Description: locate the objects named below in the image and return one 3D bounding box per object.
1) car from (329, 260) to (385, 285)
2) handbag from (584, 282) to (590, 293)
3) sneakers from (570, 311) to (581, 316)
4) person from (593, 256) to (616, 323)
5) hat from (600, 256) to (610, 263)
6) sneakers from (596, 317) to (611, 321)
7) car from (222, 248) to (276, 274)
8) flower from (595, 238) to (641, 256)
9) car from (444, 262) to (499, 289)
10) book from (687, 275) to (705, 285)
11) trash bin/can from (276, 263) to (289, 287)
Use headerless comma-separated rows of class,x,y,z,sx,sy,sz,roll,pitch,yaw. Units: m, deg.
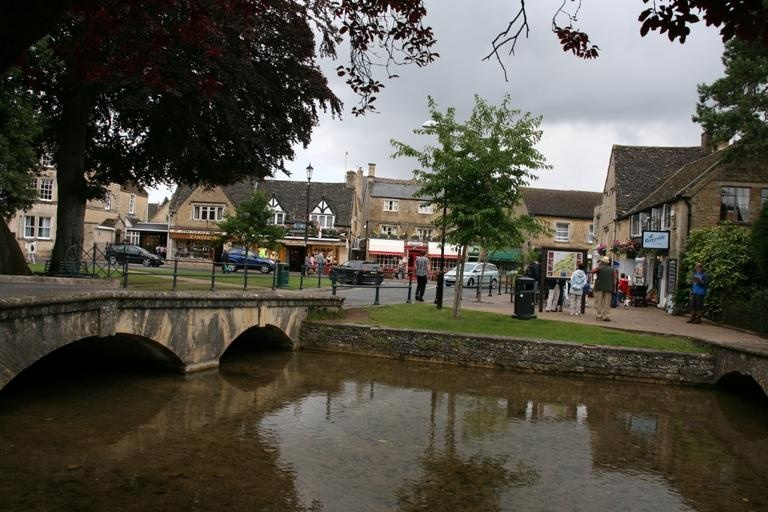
car,-1.337,1.091,42.616,3.090,1.103,1.466,5,4,33
handbag,8.136,1.281,27.911,0.274,0.333,0.449,5,15,20
sneakers,7.464,2.234,27.018,0.561,0.245,0.177,2,-5,-34
person,8.047,1.193,25.258,0.733,2.253,0.742,5,-9,20
hat,7.931,0.169,24.895,0.271,0.148,0.276,13,17,5
sneakers,7.948,2.267,25.169,0.193,0.226,0.507,1,-3,-40
car,-8.844,0.343,45.062,3.342,1.597,1.759,-1,1,7
flower,14.117,-0.510,41.683,1.201,0.766,1.666,7,4,-11
car,5.942,1.254,45.557,3.462,1.276,1.841,5,-6,-45
book,11.273,0.851,24.869,0.375,0.385,0.324,11,12,35
trash bin/can,-4.729,0.890,32.086,0.443,1.036,0.825,4,10,6
